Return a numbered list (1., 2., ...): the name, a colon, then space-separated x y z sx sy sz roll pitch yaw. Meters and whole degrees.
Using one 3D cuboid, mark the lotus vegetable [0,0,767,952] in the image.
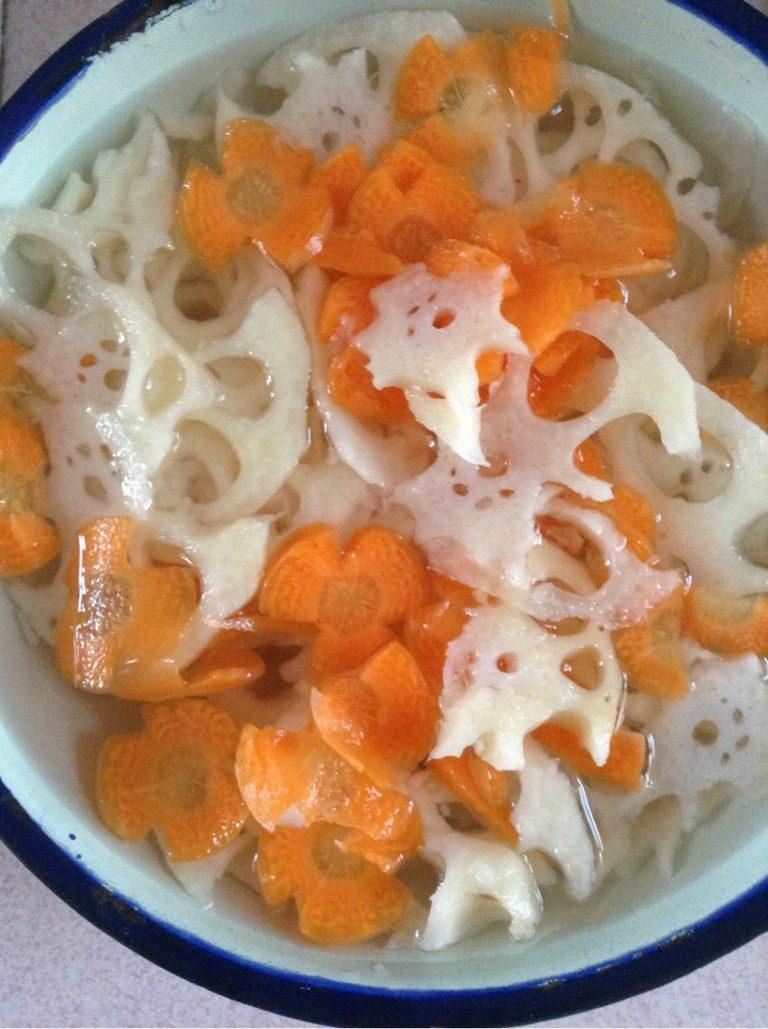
1. lotus vegetable: 0.001 -0.019 0.797 0.593 0.250 0.538 1 97 0
